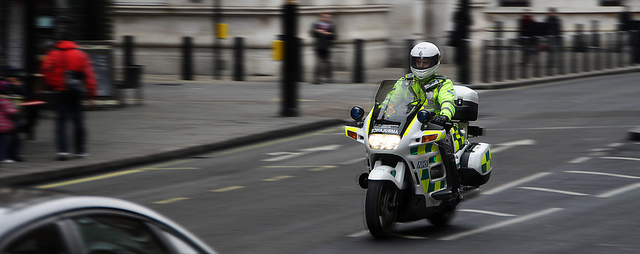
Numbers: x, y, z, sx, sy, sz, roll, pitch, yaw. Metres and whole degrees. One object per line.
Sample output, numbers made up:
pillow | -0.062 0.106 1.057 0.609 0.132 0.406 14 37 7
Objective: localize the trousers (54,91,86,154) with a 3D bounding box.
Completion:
trousers | -8.850 -0.212 24.702 1.045 2.186 1.742 -4 10 -18

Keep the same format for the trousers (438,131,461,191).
trousers | 3.848 0.974 20.556 0.481 1.701 0.459 6 13 30
